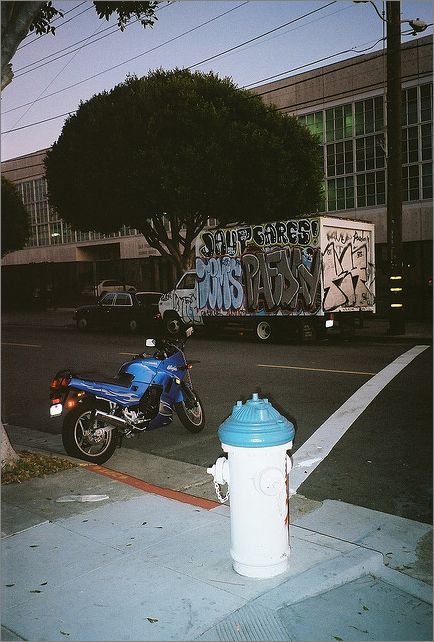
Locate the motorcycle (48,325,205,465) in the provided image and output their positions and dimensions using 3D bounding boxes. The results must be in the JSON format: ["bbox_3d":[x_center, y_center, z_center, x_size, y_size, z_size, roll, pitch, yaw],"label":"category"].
[{"bbox_3d":[-0.838,0.736,6.043,0.925,1.296,1.999,-5,1,44],"label":"motorcycle"}]

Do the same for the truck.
[{"bbox_3d":[1.183,-1.169,17.864,6.645,3.647,3.146,3,8,42],"label":"truck"}]

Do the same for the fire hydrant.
[{"bbox_3d":[0.207,0.892,3.069,0.400,0.969,0.257,0,3,7],"label":"fire hydrant"}]

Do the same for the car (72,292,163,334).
[{"bbox_3d":[-3.574,-0.387,21.002,3.052,1.187,1.458,6,7,32],"label":"car"}]
